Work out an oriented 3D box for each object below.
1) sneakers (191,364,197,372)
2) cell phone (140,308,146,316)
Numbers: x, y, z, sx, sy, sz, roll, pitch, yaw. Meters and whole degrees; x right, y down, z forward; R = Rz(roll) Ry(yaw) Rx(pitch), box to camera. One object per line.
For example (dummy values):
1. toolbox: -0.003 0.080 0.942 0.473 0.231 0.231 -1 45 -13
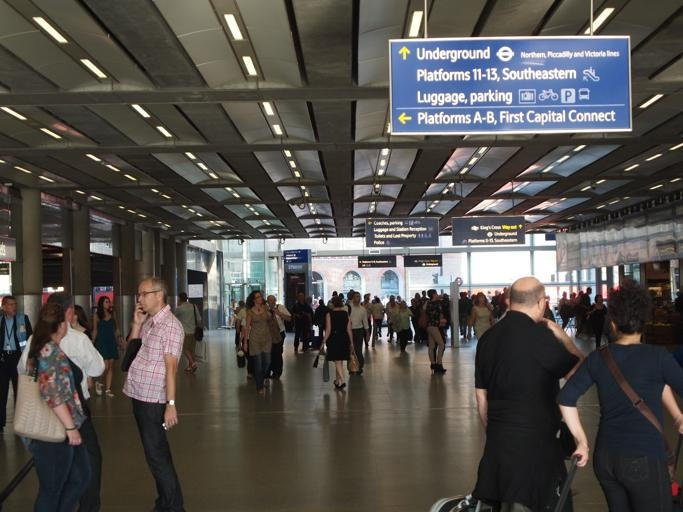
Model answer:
1. sneakers: -4.080 3.101 14.655 0.071 0.239 0.195 -2 -2 34
2. cell phone: -1.810 0.515 4.900 0.050 0.063 0.019 10 44 20
